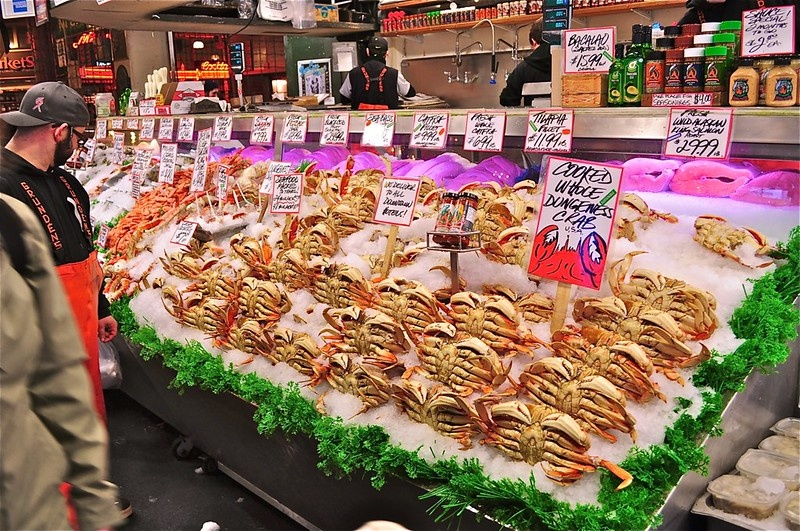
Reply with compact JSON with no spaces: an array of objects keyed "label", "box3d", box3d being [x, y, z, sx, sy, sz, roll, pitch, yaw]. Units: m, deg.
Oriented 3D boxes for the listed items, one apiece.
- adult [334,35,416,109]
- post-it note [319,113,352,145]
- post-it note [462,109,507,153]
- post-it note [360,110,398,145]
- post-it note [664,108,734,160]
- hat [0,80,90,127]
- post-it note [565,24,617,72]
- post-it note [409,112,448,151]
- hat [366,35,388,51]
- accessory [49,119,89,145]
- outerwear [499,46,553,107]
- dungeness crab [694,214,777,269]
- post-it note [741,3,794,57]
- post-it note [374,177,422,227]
[{"label":"adult","box3d":[-0.237,-1.816,5.313,0.820,0.972,0.581,-1,28,-4]},{"label":"post-it note","box3d":[-0.385,-0.822,3.071,0.220,0.207,0.024,9,3,39]},{"label":"post-it note","box3d":[0.410,-0.650,2.480,0.229,0.191,0.024,16,17,41]},{"label":"post-it note","box3d":[-0.116,-0.776,2.875,0.208,0.203,0.023,14,5,37]},{"label":"post-it note","box3d":[1.126,-0.495,1.908,0.218,0.176,0.030,5,8,40]},{"label":"hat","box3d":[-1.574,-0.697,2.357,0.401,0.193,0.246,-9,29,-35]},{"label":"post-it note","box3d":[0.785,-0.902,2.151,0.267,0.180,0.022,-9,19,-15]},{"label":"post-it note","box3d":[0.151,-0.710,2.674,0.239,0.200,0.026,13,10,35]},{"label":"hat","box3d":[-0.230,-2.218,5.157,0.190,0.132,0.250,1,41,-4]},{"label":"accessory","box3d":[-1.547,-0.622,2.368,0.120,0.118,0.035,16,44,16]},{"label":"outerwear","box3d":[0.971,-1.302,3.844,0.360,0.492,0.205,-2,8,20]},{"label":"dungeness crab","box3d":[1.232,-0.081,1.945,0.272,0.072,0.159,30,62,25]},{"label":"post-it note","box3d":[1.341,-0.839,1.835,0.189,0.165,0.113,2,18,7]},{"label":"post-it note","box3d":[-0.010,-0.273,2.226,0.237,0.241,0.025,13,0,33]}]
